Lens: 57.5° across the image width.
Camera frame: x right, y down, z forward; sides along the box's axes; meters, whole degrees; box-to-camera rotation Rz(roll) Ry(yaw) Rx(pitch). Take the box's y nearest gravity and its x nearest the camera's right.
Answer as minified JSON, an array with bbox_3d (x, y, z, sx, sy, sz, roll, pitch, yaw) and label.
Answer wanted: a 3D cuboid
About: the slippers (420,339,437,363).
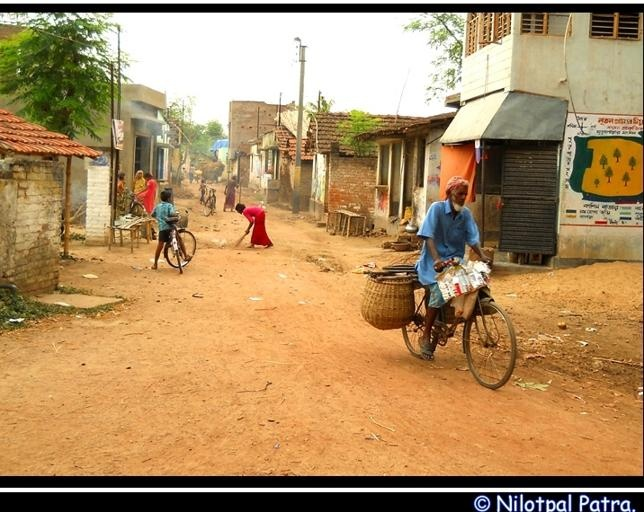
[{"bbox_3d":[1.340,1.147,7.303,0.142,0.162,0.380,-1,10,-7],"label":"slippers"}]

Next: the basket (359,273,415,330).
[{"bbox_3d":[0.844,0.589,7.441,0.652,0.621,0.627,-2,8,-35],"label":"basket"}]

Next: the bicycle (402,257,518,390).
[{"bbox_3d":[1.605,0.965,7.073,0.891,1.178,1.909,1,1,-28],"label":"bicycle"}]

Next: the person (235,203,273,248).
[{"bbox_3d":[-2.066,-0.996,18.496,1.035,1.330,3.546,1,9,-5],"label":"person"}]
